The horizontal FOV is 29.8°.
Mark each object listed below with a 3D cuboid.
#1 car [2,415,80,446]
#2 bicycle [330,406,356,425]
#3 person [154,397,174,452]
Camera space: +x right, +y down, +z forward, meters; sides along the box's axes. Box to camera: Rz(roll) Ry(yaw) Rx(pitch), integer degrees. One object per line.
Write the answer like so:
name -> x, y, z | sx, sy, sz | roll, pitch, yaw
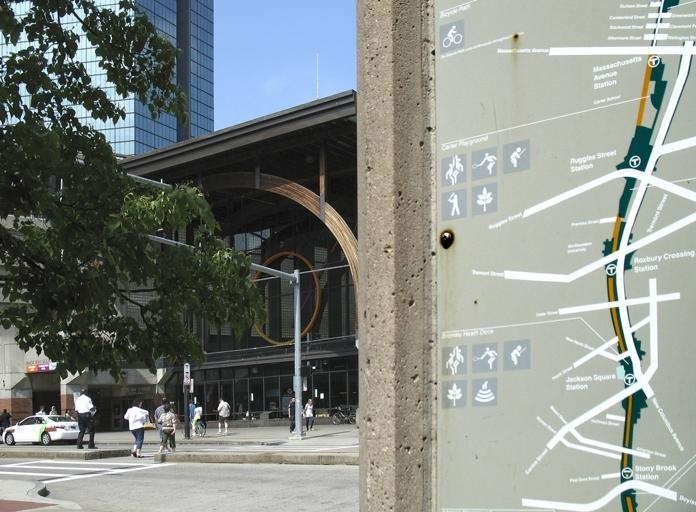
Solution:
car -> -9.376, 5.301, 40.155 | 2.844, 1.039, 1.240 | -5, -11, 40
bicycle -> -0.186, 5.534, 45.135 | 0.956, 0.652, 0.515 | -1, -3, 12
person -> -4.031, 3.823, 29.012 | 0.440, 1.068, 0.566 | 3, 7, 28
